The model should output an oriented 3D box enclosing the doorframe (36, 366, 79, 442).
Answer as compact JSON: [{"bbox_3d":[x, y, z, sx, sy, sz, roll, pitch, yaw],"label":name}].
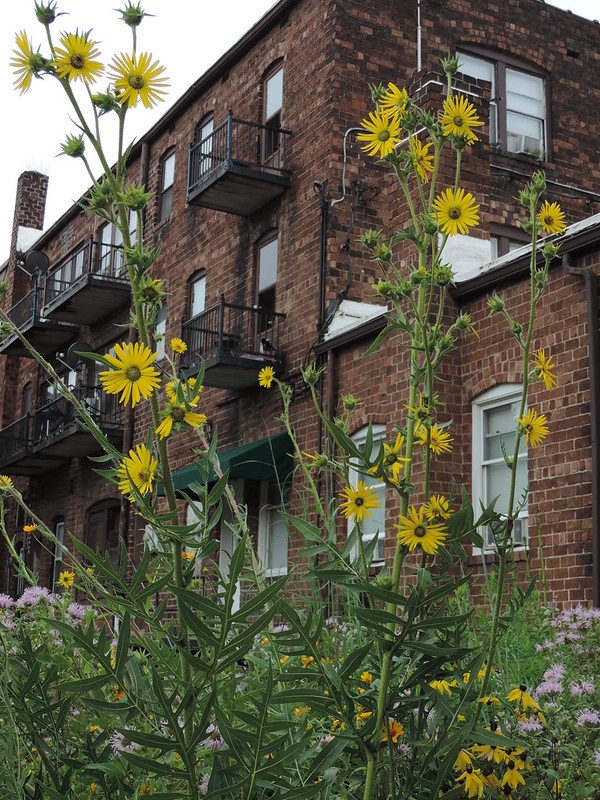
[{"bbox_3d":[-3.207,0.098,16.838,0.059,0.492,1.188,6,-15,-25],"label":"doorframe"}]

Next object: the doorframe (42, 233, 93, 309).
[{"bbox_3d":[-3.944,-2.188,21.697,0.228,0.863,1.548,27,-47,-27],"label":"doorframe"}]
